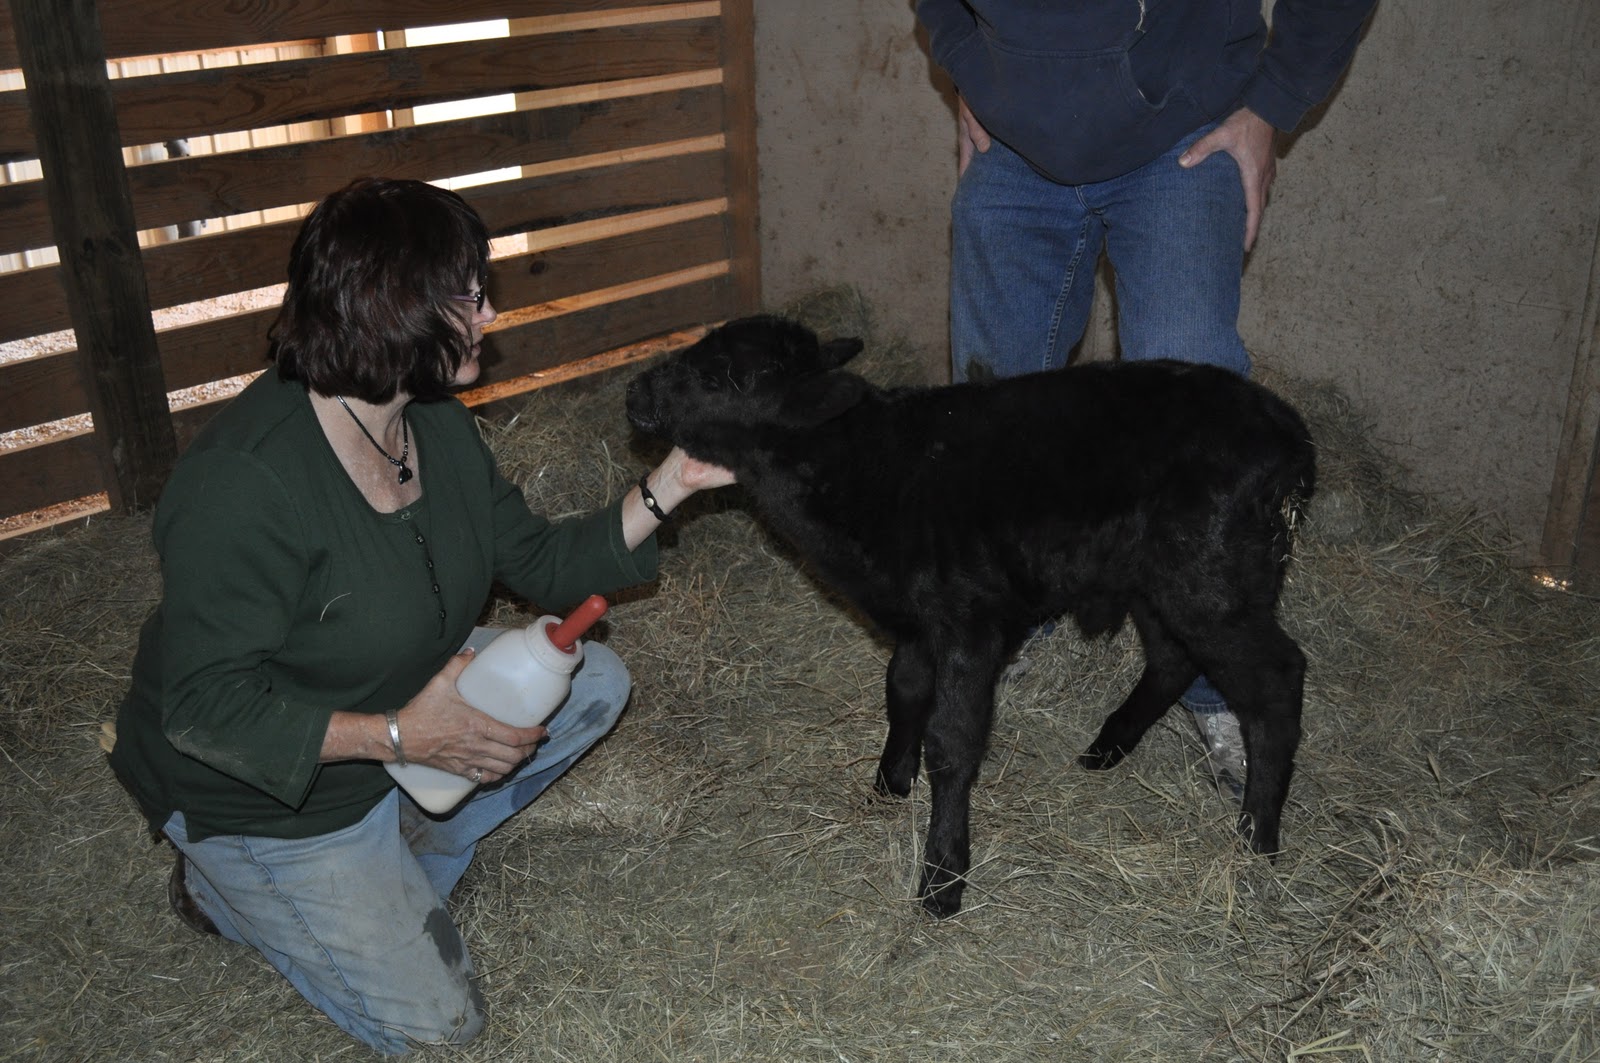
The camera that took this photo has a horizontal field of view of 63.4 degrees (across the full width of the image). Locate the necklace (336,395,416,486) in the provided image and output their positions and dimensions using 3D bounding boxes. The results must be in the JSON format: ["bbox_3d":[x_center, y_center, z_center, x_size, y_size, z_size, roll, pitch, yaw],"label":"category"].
[{"bbox_3d":[-1.318,-0.281,4.119,0.095,0.242,0.199,-31,11,14],"label":"necklace"}]

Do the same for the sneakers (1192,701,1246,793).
[{"bbox_3d":[1.533,0.794,4.719,0.089,0.258,0.264,-19,24,-1],"label":"sneakers"}]
